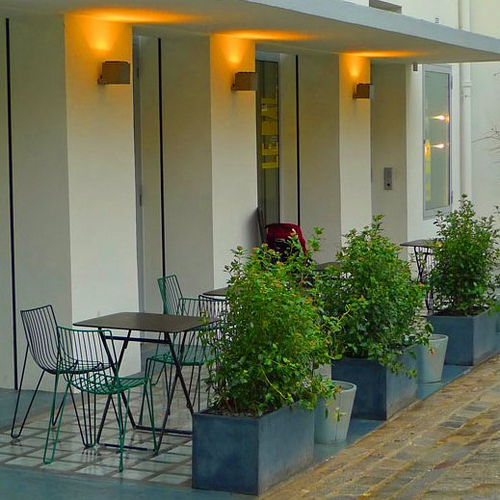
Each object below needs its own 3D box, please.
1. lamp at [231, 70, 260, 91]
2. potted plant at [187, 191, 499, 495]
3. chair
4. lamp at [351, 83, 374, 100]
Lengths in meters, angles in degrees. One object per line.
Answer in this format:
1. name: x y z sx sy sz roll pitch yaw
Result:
1. lamp: -0.056 -1.793 7.206 0.191 0.181 0.217 0 4 8
2. potted plant: 0.639 0.481 4.438 0.642 1.433 2.792 0 2 33
3. chair: -0.998 0.735 4.606 1.052 0.928 1.250 1 3 21
4. lamp: 1.590 -2.226 9.418 0.263 0.246 0.206 0 2 -1
